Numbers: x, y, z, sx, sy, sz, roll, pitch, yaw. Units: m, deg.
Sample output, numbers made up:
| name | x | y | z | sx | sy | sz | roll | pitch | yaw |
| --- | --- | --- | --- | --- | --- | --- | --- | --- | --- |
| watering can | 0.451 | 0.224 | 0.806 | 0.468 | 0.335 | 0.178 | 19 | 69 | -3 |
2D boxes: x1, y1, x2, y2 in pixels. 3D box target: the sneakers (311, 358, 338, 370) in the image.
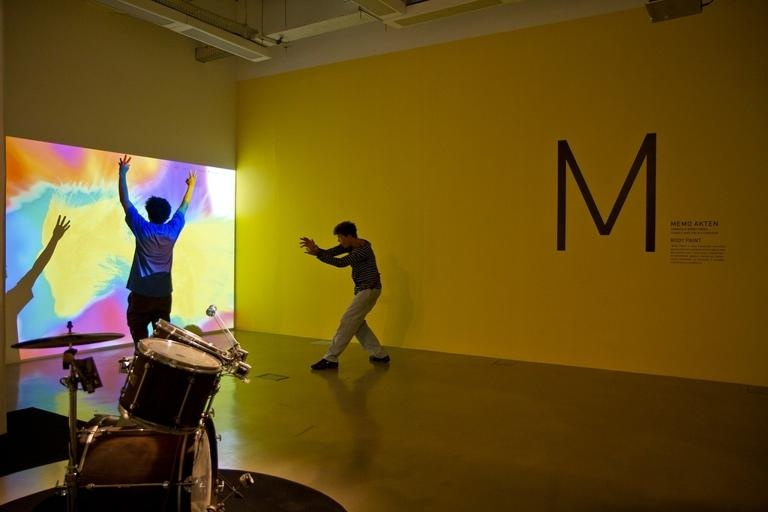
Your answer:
| name | x | y | z | sx | sy | sz | roll | pitch | yaw |
| --- | --- | --- | --- | --- | --- | --- | --- | --- | --- |
| sneakers | -0.775 | 1.446 | 8.165 | 0.356 | 0.168 | 0.138 | 3 | -7 | -7 |

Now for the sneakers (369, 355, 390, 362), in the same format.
| name | x | y | z | sx | sy | sz | roll | pitch | yaw |
| --- | --- | --- | --- | --- | --- | --- | --- | --- | --- |
| sneakers | -0.054 | 1.417 | 8.434 | 0.270 | 0.137 | 0.106 | 3 | -1 | 10 |

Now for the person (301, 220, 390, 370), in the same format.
| name | x | y | z | sx | sy | sz | roll | pitch | yaw |
| --- | --- | --- | --- | --- | --- | --- | --- | --- | --- |
| person | -0.453 | 0.506 | 8.458 | 1.056 | 1.955 | 1.218 | -1 | 13 | -5 |

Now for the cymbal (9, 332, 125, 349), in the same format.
| name | x | y | z | sx | sy | sz | roll | pitch | yaw |
| --- | --- | --- | --- | --- | --- | --- | --- | --- | --- |
| cymbal | -2.581 | 0.696 | 5.029 | 0.442 | 0.101 | 0.456 | -1 | -7 | -26 |

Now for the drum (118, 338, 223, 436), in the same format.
| name | x | y | z | sx | sy | sz | roll | pitch | yaw |
| --- | --- | --- | --- | --- | --- | --- | --- | --- | --- |
| drum | -1.677 | 0.959 | 4.955 | 0.704 | 0.563 | 0.718 | 23 | -1 | 0 |
